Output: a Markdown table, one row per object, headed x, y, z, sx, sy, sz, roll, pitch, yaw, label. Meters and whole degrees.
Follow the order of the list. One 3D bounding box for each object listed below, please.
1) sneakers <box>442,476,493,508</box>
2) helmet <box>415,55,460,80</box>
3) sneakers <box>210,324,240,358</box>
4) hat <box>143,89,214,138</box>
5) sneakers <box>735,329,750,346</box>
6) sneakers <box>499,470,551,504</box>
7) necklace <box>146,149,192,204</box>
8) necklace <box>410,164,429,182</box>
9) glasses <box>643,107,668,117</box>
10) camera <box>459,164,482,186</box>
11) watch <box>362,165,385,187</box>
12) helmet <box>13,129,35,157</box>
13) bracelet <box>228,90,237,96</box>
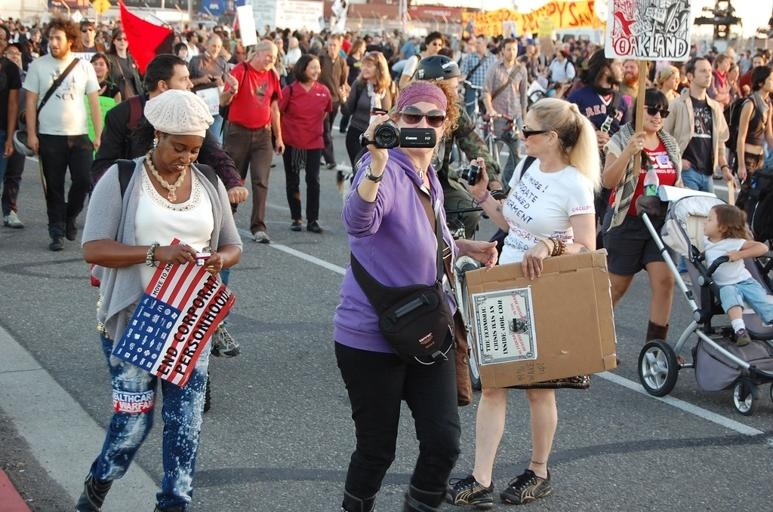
| x | y | z | sx | sy | sz | roll | pitch | yaw | label |
| --- | --- | --- | --- | --- | --- | --- | --- | --- | --- |
| 0.568 | 1.587 | 5.917 | 0.329 | 0.173 | 0.166 | 9 | -4 | -8 | sneakers |
| 0.431 | -1.568 | 7.251 | 0.357 | 0.187 | 0.511 | 3 | 13 | 2 | helmet |
| -1.303 | 0.709 | 7.068 | 0.384 | 0.273 | 0.133 | 3 | 7 | 41 | sneakers |
| -1.271 | -0.865 | 5.310 | 0.390 | 0.271 | 0.261 | -1 | 13 | -15 | hat |
| 2.950 | 0.669 | 7.224 | 0.085 | 0.098 | 0.147 | -10 | 6 | 5 | sneakers |
| 0.957 | 1.568 | 6.005 | 0.415 | 0.199 | 0.152 | -7 | 6 | -24 | sneakers |
| -1.349 | -0.462 | 5.369 | 0.223 | 0.342 | 0.091 | -21 | 7 | -35 | necklace |
| 0.202 | -0.488 | 5.184 | 0.043 | 0.121 | 0.089 | -9 | -1 | 44 | necklace |
| 2.416 | -1.265 | 7.697 | 0.227 | 0.093 | 0.074 | -1 | 13 | -15 | glasses |
| 0.602 | -0.581 | 6.195 | 0.081 | 0.127 | 0.130 | 2 | 5 | -28 | camera |
| -0.075 | -0.439 | 4.830 | 0.114 | 0.074 | 0.105 | 23 | -4 | -37 | watch |
| -4.429 | -1.360 | 10.590 | 0.211 | 0.327 | 0.552 | -4 | 14 | -28 | helmet |
| -1.878 | -1.995 | 10.633 | 0.061 | 0.015 | 0.059 | 0 | -23 | -33 | bracelet |
